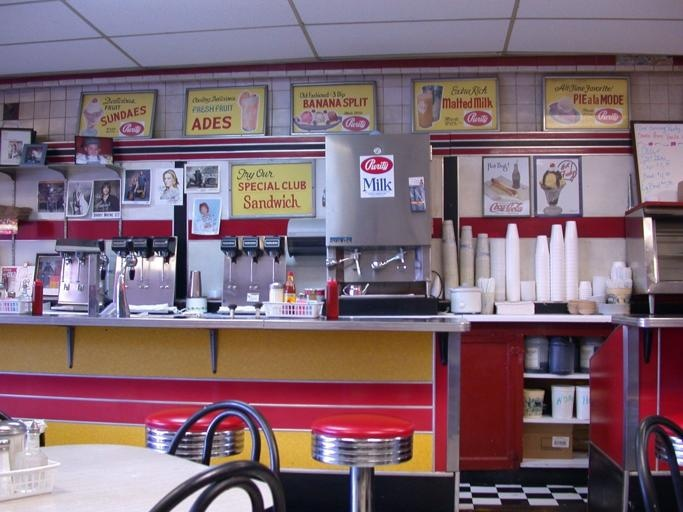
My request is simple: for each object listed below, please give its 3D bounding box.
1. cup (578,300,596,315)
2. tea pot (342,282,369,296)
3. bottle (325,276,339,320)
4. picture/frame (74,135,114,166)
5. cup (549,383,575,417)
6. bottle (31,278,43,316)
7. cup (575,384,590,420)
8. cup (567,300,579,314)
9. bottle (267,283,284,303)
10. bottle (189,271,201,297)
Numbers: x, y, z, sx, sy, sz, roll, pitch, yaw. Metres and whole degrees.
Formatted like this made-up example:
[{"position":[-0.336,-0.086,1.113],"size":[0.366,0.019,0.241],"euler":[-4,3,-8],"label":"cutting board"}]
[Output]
[{"position":[2.177,0.442,6.733],"size":[0.126,0.103,0.134],"euler":[0,-3,0],"label":"cup"},{"position":[0.090,0.273,6.519],"size":[0.215,0.107,0.312],"euler":[-1,-3,20],"label":"tea pot"},{"position":[-0.071,0.317,5.669],"size":[0.101,0.291,0.321],"euler":[1,-3,-2],"label":"bottle"},{"position":[-2.450,-1.036,7.452],"size":[0.296,0.226,0.041],"euler":[0,1,-5],"label":"picture/frame"},{"position":[1.958,1.271,6.673],"size":[0.227,0.289,0.158],"euler":[1,-4,-2],"label":"cup"},{"position":[-2.402,0.318,5.972],"size":[0.082,0.271,0.197],"euler":[2,-4,-23],"label":"bottle"},{"position":[2.092,1.270,6.606],"size":[0.114,0.293,0.063],"euler":[-2,-4,32],"label":"cup"},{"position":[2.084,0.452,6.816],"size":[0.101,0.106,0.087],"euler":[1,1,0],"label":"cup"},{"position":[-0.507,0.283,5.887],"size":[0.129,0.152,0.132],"euler":[2,3,33],"label":"bottle"},{"position":[-1.413,0.261,7.267],"size":[0.129,0.256,0.494],"euler":[1,-3,-11],"label":"bottle"}]
